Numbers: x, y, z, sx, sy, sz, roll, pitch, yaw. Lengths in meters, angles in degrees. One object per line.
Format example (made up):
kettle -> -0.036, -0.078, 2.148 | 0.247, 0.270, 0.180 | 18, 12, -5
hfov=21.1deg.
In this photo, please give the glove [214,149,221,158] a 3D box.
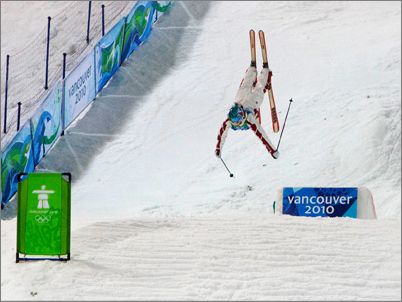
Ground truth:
glove -> 0.656, 0.150, 50.308 | 0.252, 0.346, 0.309 | -2, 7, 7
